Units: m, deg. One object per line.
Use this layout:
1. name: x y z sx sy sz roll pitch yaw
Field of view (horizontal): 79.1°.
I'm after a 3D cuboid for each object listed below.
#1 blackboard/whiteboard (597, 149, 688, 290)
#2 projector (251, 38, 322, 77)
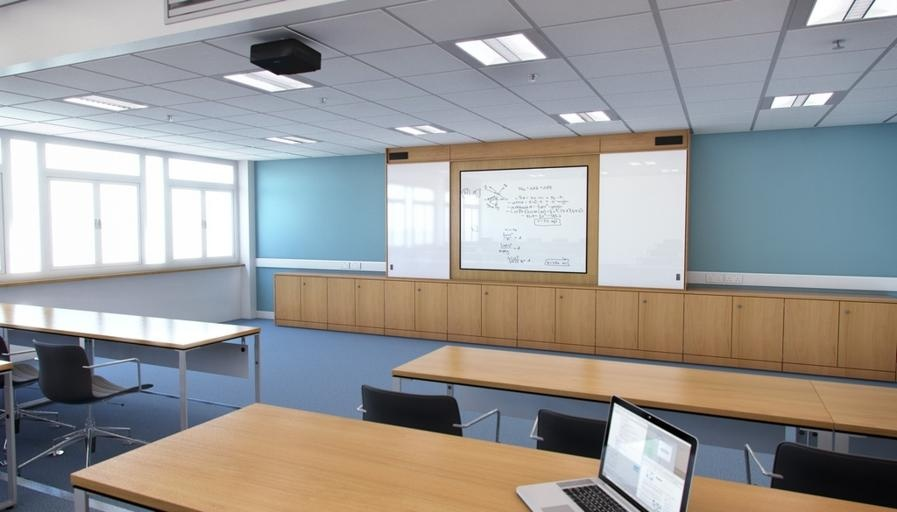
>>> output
1. blackboard/whiteboard: 3.242 -0.613 9.098 1.320 2.261 0.268 1 5 26
2. projector: -1.728 -2.071 5.772 0.679 0.408 0.403 -1 -2 4
